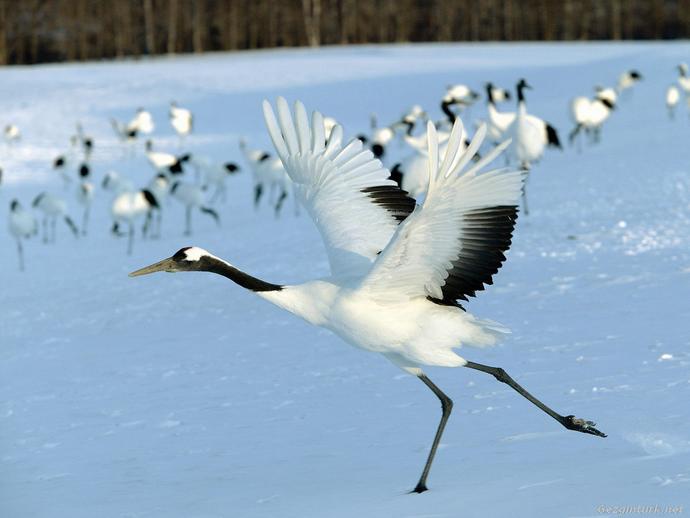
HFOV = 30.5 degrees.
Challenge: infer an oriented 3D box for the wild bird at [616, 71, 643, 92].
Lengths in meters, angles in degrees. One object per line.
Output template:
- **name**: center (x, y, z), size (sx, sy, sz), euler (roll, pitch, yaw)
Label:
- **wild bird**: center (3.027, -1.897, 13.424), size (0.260, 0.243, 0.418), euler (0, 11, 4)

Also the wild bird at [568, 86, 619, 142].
- **wild bird**: center (2.594, -1.550, 13.098), size (0.403, 0.304, 0.712), euler (18, 39, 26)

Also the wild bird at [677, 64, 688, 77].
- **wild bird**: center (3.501, -1.979, 13.140), size (0.112, 0.145, 0.373), euler (1, 11, 13)
